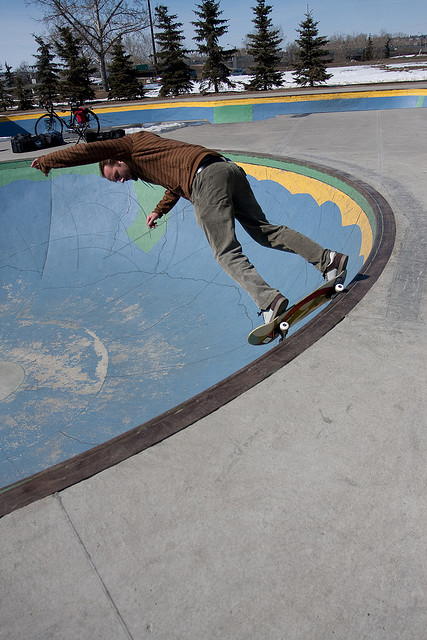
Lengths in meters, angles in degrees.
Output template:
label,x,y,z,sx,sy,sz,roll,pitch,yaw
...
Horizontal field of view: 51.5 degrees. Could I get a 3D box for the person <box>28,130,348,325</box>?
label,x,y,z,sx,sy,sz,roll,pitch,yaw
person,-0.082,-0.708,2.818,1.964,0.585,1.243,48,42,13

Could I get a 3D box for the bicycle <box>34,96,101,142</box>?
label,x,y,z,sx,sy,sz,roll,pitch,yaw
bicycle,-4.350,-5.875,13.096,1.769,1.128,0.671,-8,22,-6
